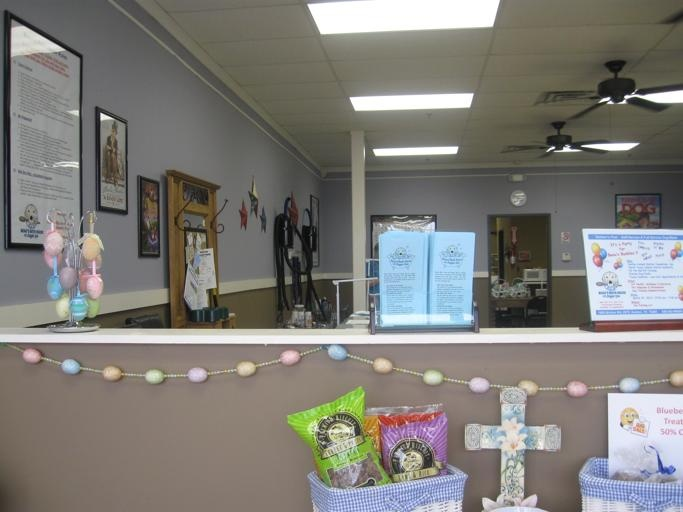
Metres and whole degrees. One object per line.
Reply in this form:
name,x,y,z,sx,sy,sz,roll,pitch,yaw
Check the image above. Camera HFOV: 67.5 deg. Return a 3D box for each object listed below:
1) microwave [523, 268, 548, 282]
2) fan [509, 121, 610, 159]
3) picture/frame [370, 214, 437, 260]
microwave,3.919,0.391,10.453,0.422,0.266,0.214,0,7,11
fan,2.835,-1.590,6.936,1.192,0.429,1.178,-1,7,1
picture/frame,1.154,-0.437,9.715,1.262,0.744,0.387,0,7,7
